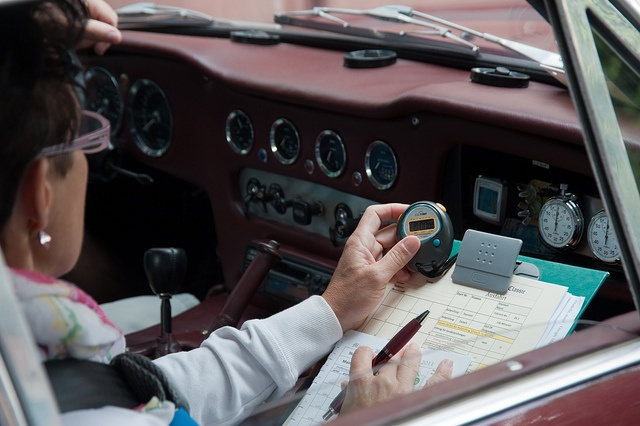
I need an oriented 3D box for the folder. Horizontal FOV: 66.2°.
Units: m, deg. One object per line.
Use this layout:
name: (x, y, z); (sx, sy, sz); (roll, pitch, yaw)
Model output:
folder: (0.269, 0.188, 0.907); (0.277, 0.022, 0.455); (0, 35, 48)
